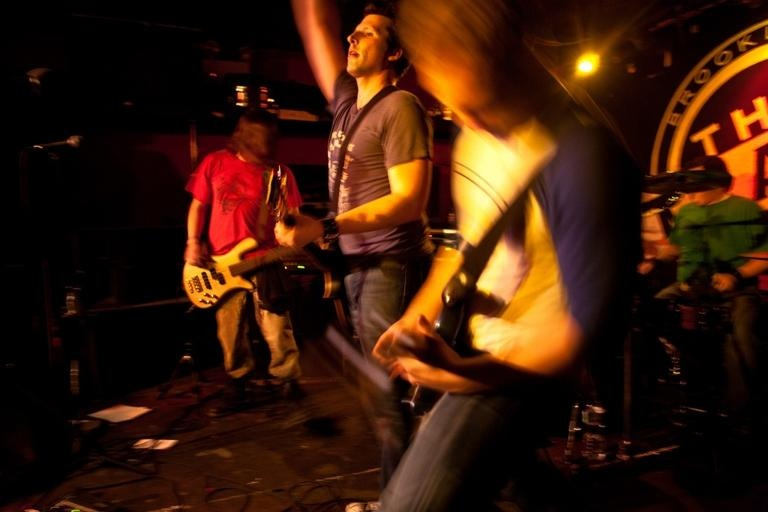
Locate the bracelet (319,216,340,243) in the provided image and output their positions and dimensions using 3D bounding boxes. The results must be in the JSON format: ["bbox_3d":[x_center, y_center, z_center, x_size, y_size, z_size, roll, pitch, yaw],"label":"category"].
[{"bbox_3d":[-0.306,-0.148,3.463,0.095,0.140,0.051,-2,12,-6],"label":"bracelet"}]
